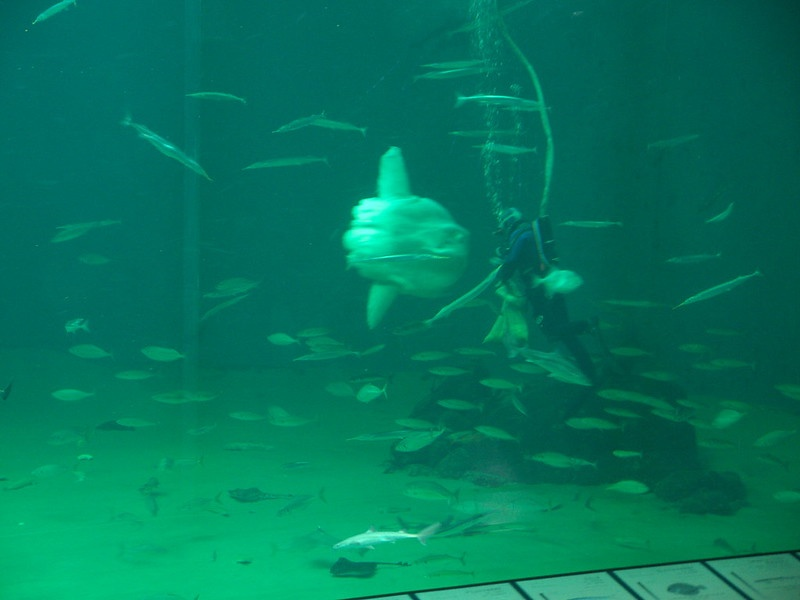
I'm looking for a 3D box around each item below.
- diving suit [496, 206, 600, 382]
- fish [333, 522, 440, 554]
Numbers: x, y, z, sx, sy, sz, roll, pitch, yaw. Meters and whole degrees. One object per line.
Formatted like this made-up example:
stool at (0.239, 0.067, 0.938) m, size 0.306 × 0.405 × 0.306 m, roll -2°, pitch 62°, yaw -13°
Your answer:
diving suit at (1.045, -0.119, 7.148) m, size 0.501 × 1.126 × 0.323 m, roll -13°, pitch -12°, yaw -20°
fish at (-0.100, 1.690, 6.926) m, size 0.897 × 0.146 × 0.181 m, roll -2°, pitch -31°, yaw -7°
